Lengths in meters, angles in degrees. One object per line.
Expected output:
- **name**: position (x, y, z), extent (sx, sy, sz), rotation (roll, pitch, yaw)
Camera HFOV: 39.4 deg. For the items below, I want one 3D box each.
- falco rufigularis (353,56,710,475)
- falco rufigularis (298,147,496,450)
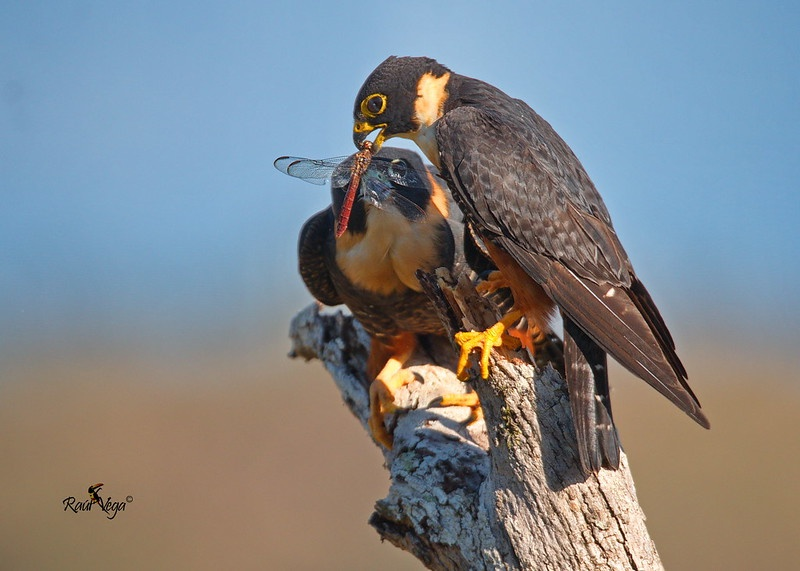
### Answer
- **falco rufigularis**: position (0.668, -0.239, 5.998), extent (1.570, 2.308, 0.722), rotation (18, -53, -26)
- **falco rufigularis**: position (0.043, -0.117, 7.483), extent (1.020, 2.185, 1.815), rotation (-7, -72, 31)
